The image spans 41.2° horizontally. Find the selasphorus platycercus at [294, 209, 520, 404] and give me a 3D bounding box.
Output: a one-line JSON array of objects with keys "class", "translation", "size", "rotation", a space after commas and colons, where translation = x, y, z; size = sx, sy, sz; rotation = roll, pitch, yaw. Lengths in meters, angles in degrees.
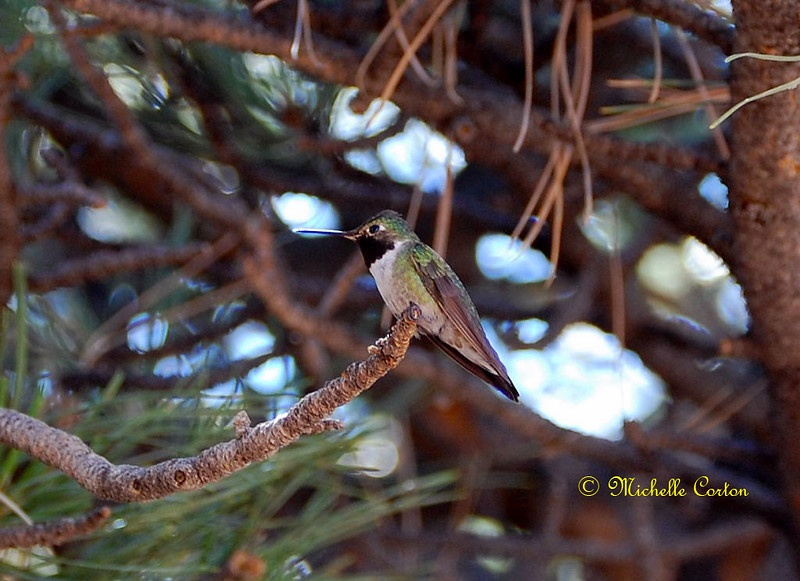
[{"class": "selasphorus platycercus", "translation": [0.029, 0.001, 2.772], "size": [0.651, 0.197, 0.361], "rotation": [20, 59, -17]}]
